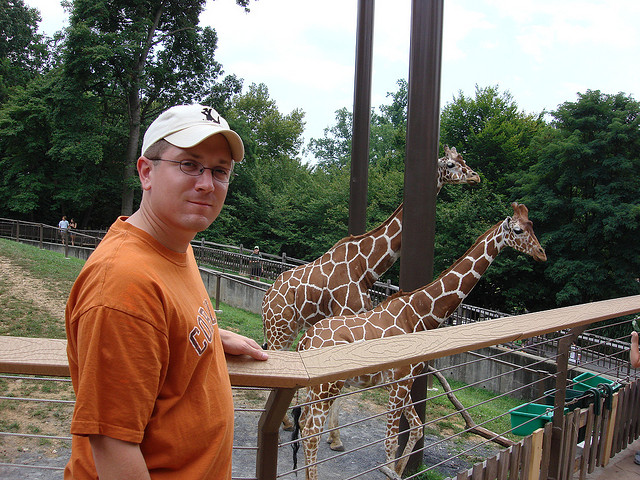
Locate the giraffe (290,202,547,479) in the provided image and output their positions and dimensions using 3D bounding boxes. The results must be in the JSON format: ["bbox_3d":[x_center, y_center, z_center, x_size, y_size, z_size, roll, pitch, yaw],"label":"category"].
[{"bbox_3d":[0.960,1.067,5.428,2.799,2.912,0.927,3,1,-35],"label":"giraffe"}]

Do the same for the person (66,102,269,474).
[{"bbox_3d":[-0.634,0.200,1.974,0.651,1.208,0.364,3,1,-31],"label":"person"}]
